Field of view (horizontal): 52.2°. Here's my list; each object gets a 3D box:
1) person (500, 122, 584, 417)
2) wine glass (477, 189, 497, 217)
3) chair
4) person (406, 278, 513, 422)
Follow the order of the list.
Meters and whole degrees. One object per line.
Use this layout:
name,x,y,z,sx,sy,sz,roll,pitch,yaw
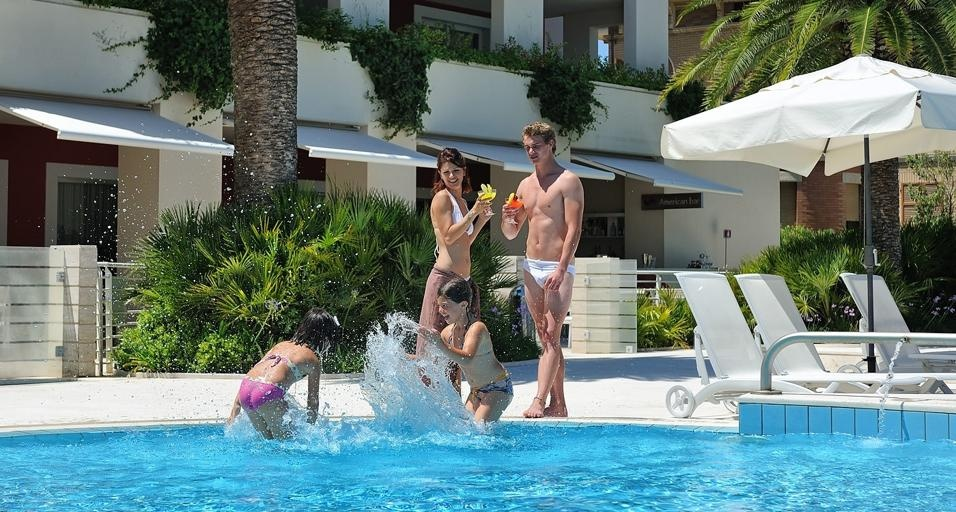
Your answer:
person,0.926,0.272,13.903,1.102,4.250,1.186,-1,11,-4
wine glass,0.119,-0.771,13.676,0.323,0.540,0.359,0,-6,1
chair,4.197,1.358,14.448,3.371,2.116,2.127,0,-1,34
person,-0.126,1.295,13.264,1.125,1.964,0.450,-2,11,-5
